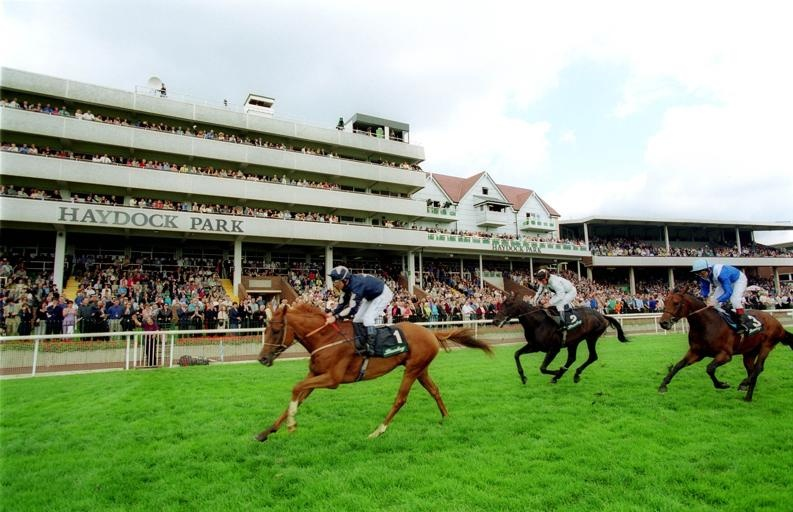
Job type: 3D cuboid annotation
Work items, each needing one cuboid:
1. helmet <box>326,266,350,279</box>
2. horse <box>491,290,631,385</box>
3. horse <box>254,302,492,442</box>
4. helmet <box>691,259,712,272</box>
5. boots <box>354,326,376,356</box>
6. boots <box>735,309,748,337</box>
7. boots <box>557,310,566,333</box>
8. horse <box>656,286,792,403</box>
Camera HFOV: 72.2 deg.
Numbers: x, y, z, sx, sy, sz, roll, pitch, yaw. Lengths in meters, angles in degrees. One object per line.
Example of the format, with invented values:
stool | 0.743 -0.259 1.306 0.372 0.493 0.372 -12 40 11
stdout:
helmet | -1.202 0.366 11.077 0.340 0.270 0.273 -28 22 -10
horse | 4.130 2.099 13.832 3.342 2.404 1.061 -6 14 -21
horse | -0.389 2.298 11.584 5.363 2.799 0.997 -1 2 -28
helmet | 7.279 0.230 12.920 0.558 0.281 0.415 0 -11 -31
boots | -0.646 1.708 10.944 0.459 0.585 0.202 14 -18 -31
boots | 7.890 1.526 12.449 0.221 0.545 0.225 0 13 4
boots | 4.101 1.651 13.541 0.153 0.158 0.627 -38 22 32
horse | 7.503 1.932 12.494 3.211 2.363 1.115 -2 13 -5
